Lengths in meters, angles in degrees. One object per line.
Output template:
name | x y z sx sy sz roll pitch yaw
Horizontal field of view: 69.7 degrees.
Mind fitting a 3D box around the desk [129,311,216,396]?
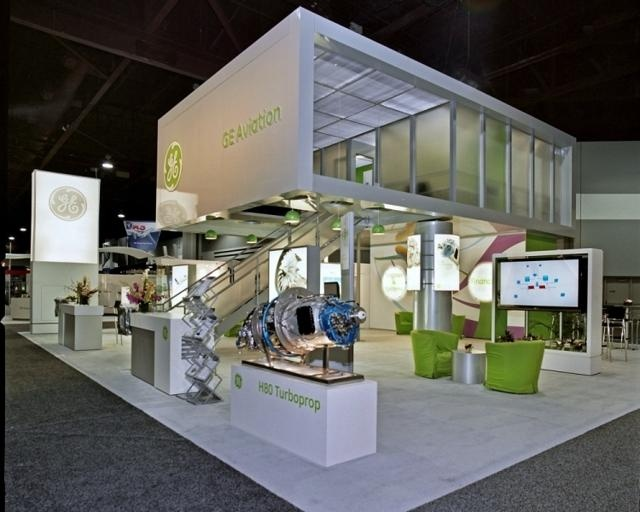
desk | -2.359 1.694 7.295 0.960 1.415 1.901 3 -4 -33

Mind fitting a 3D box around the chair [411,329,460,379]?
chair | 2.057 1.719 8.378 0.769 0.838 0.890 -11 -15 44

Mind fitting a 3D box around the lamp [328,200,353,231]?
lamp | 0.418 -0.866 9.700 0.488 0.584 0.507 1 -3 -6

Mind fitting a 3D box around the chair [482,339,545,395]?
chair | 3.041 1.716 7.297 0.689 0.778 0.843 4 -5 -28

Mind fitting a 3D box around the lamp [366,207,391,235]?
lamp | 1.452 -0.835 11.337 0.512 0.613 0.519 0 -3 -1

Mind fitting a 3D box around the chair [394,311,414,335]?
chair | 2.727 2.186 14.936 0.630 0.710 0.649 -5 -25 21

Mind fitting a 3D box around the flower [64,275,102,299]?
flower | -6.873 0.871 13.200 0.896 0.679 0.923 2 1 44

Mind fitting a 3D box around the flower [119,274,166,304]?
flower | -3.146 0.617 8.408 0.520 0.565 0.699 3 -3 -41
